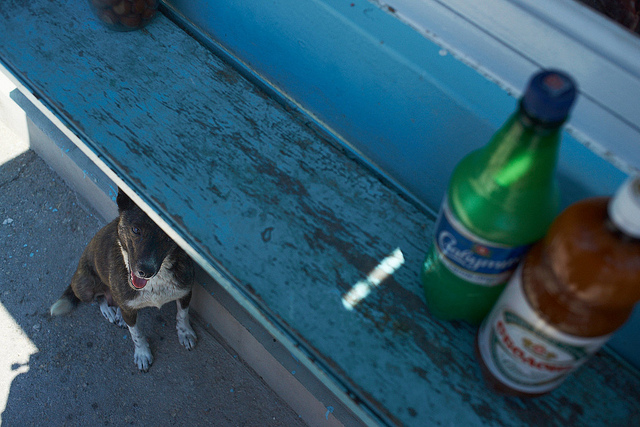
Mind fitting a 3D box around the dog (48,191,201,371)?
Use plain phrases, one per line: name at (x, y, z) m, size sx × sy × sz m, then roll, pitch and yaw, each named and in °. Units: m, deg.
dog at (-0.781, 0.323, 1.889) m, size 0.347 × 0.576 × 0.524 m, roll -18°, pitch 61°, yaw -29°
